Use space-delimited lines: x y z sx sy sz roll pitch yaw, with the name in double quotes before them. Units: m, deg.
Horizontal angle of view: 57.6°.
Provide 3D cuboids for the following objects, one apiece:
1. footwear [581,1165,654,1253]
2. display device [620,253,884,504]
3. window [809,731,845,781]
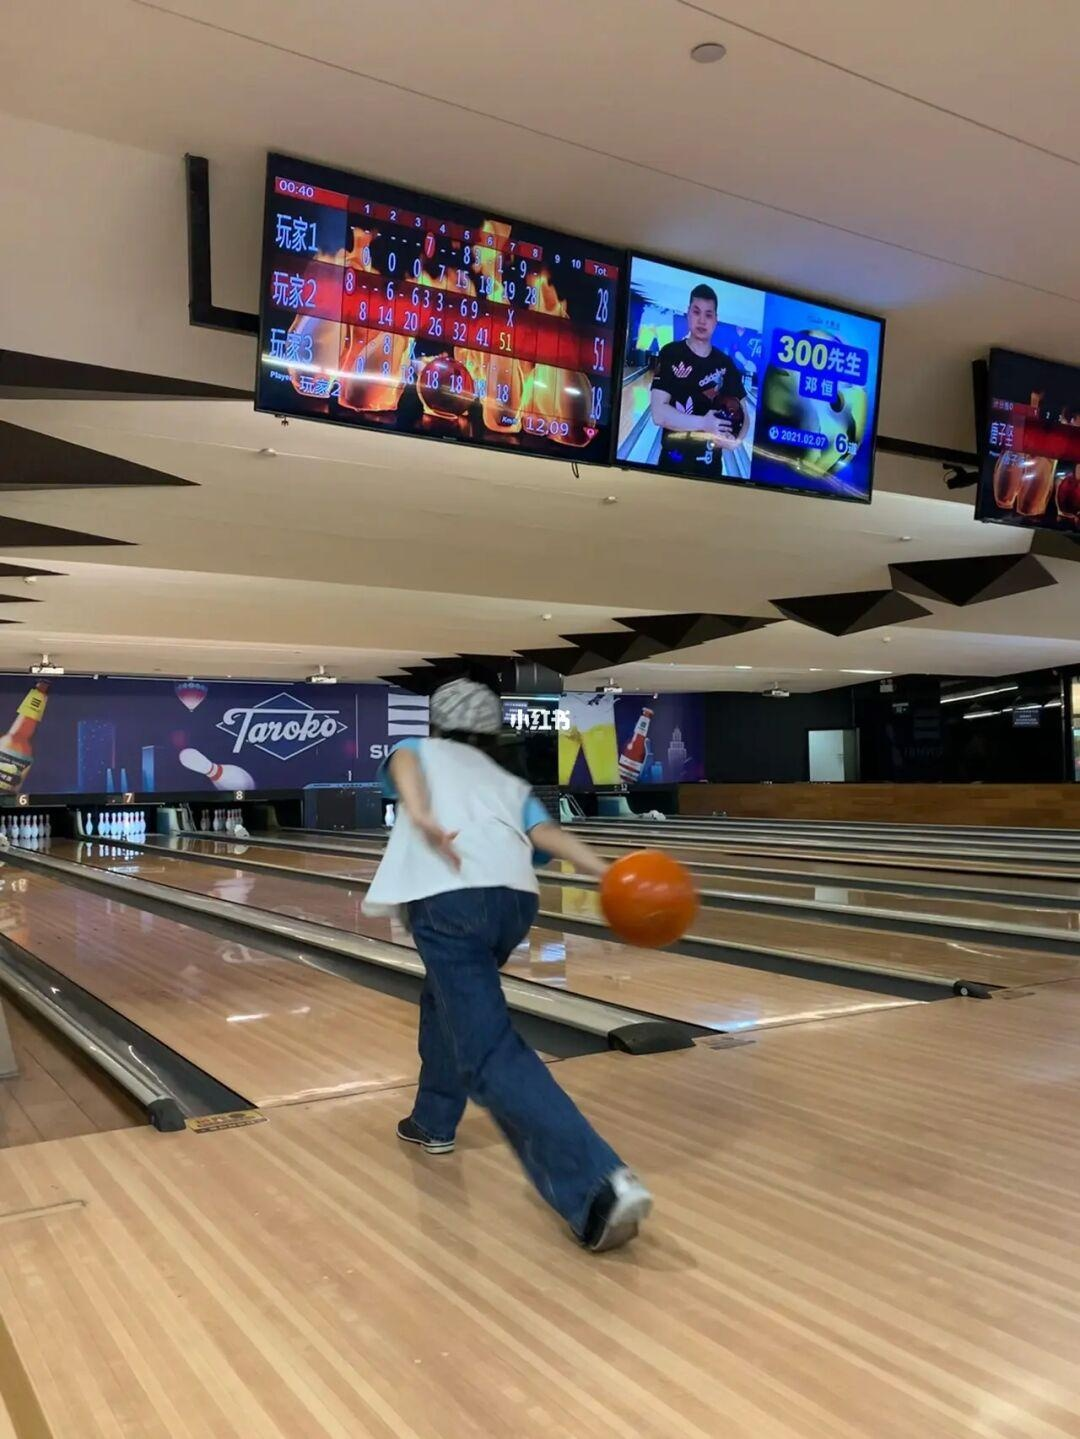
"footwear" 0.086 0.591 1.173 0.077 0.131 0.073 0 5 -10
"display device" 0.720 -1.146 3.382 1.168 0.663 0.039 1 8 -24
"window" 4.251 0.574 14.469 0.088 0.859 0.638 9 -12 -33
